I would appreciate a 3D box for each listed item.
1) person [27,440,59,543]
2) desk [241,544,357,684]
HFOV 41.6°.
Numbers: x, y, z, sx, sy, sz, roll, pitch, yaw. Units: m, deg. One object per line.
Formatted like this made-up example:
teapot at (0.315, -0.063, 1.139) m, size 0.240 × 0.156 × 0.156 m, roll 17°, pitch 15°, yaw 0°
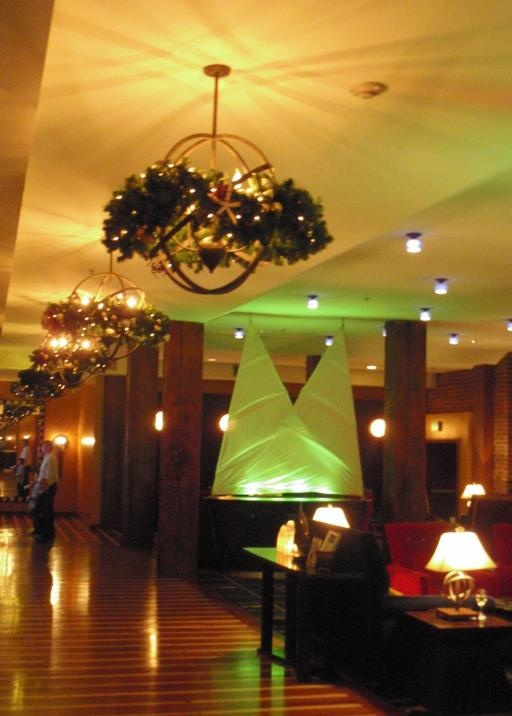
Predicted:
person at (-3.450, 2.157, 10.958) m, size 0.386 × 1.593 × 0.933 m, roll 4°, pitch -4°, yaw -18°
desk at (0.318, 1.842, 4.816) m, size 0.479 × 0.566 × 1.259 m, roll 2°, pitch -6°, yaw -15°
